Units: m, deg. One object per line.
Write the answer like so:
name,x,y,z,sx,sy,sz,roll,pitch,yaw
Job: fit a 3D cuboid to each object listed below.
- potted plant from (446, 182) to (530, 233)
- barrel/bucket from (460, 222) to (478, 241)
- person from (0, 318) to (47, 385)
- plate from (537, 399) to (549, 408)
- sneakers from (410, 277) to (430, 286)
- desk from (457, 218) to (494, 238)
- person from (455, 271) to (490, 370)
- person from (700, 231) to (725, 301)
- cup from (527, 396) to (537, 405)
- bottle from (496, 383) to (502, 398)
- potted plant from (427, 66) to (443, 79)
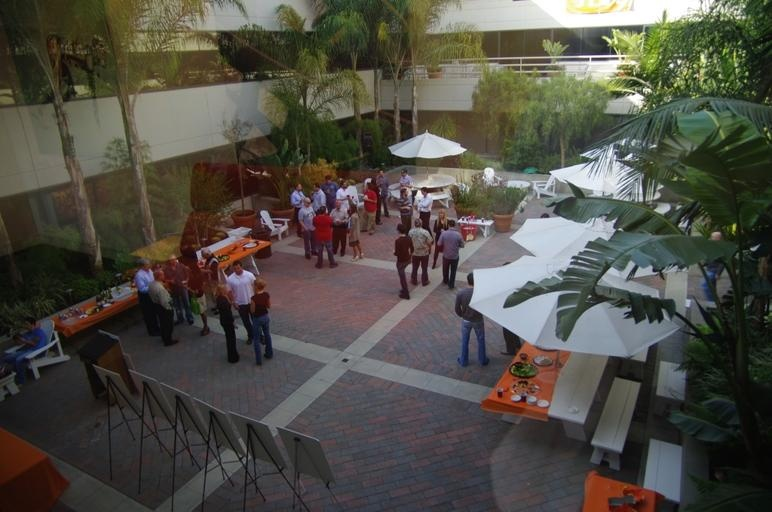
potted plant,4.038,-2.006,19.315,2.402,1.654,2.007,4,18,15
barrel/bucket,2.961,-0.892,17.777,0.718,0.953,0.416,-2,2,-15
person,-8.638,2.174,11.820,0.647,1.431,0.982,11,24,26
plate,2.945,2.758,9.256,0.246,0.044,0.189,-1,22,-2
sneakers,0.995,0.741,14.693,0.485,0.277,0.221,-2,3,11
desk,3.278,-1.058,18.136,1.168,0.963,0.773,2,14,15
person,1.966,1.405,11.289,0.750,2.346,0.583,-1,25,16
person,6.263,0.217,9.494,0.476,1.752,0.360,-1,3,13
cup,2.731,2.708,9.280,0.171,0.102,0.169,0,22,0
bottle,2.183,2.601,9.519,0.135,0.183,0.155,3,23,15
potted plant,2.813,-10.553,28.357,1.009,0.762,1.044,-4,24,-5
